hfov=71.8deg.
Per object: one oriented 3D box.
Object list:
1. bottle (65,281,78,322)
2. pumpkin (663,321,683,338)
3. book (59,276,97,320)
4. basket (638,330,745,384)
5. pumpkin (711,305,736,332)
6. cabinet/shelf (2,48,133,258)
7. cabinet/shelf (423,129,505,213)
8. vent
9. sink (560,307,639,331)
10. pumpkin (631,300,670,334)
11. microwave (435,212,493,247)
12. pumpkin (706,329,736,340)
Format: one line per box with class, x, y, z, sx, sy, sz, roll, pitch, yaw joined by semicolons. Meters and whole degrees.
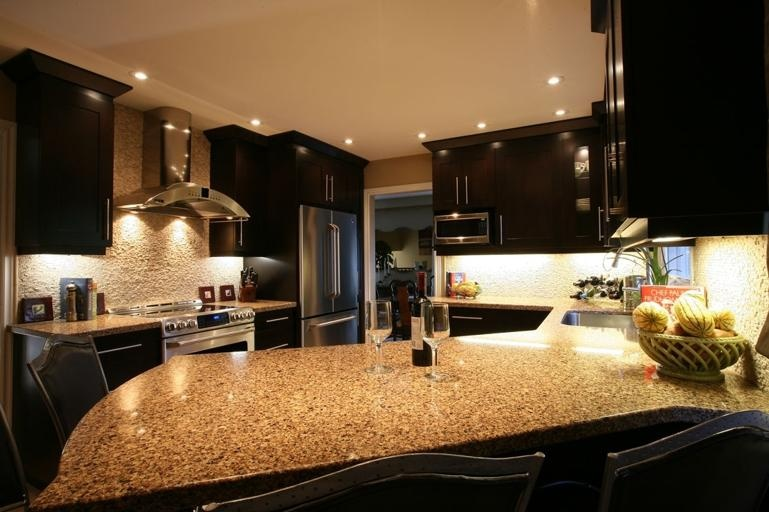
bottle;-2.137;0.317;3.628;0.068;0.262;0.074;-2;0;0
pumpkin;1.208;0.307;2.223;0.052;0.086;0.058;2;-1;-31
book;-2.121;0.297;3.667;0.287;0.343;0.122;-1;-3;-1
basket;1.320;0.412;2.274;0.422;0.175;0.420;0;-2;-20
pumpkin;1.382;0.262;2.217;0.092;0.104;0.087;-3;1;2
cabinet/shelf;-2.160;-0.649;3.612;0.358;1.343;0.652;-2;0;39
cabinet/shelf;0.822;-0.756;5.280;0.719;0.694;0.373;-1;-2;27
vent;-1.650;-0.748;4.316;0.530;0.799;0.996;1;0;28
sink;1.541;0.453;3.862;0.455;0.139;0.260;-2;0;18
pumpkin;1.122;0.249;2.302;0.134;0.129;0.159;-7;20;8
microwave;0.809;-0.231;5.263;0.587;0.322;0.326;-2;-9;28
pumpkin;1.358;0.310;2.145;0.061;0.033;0.052;0;-1;-32
